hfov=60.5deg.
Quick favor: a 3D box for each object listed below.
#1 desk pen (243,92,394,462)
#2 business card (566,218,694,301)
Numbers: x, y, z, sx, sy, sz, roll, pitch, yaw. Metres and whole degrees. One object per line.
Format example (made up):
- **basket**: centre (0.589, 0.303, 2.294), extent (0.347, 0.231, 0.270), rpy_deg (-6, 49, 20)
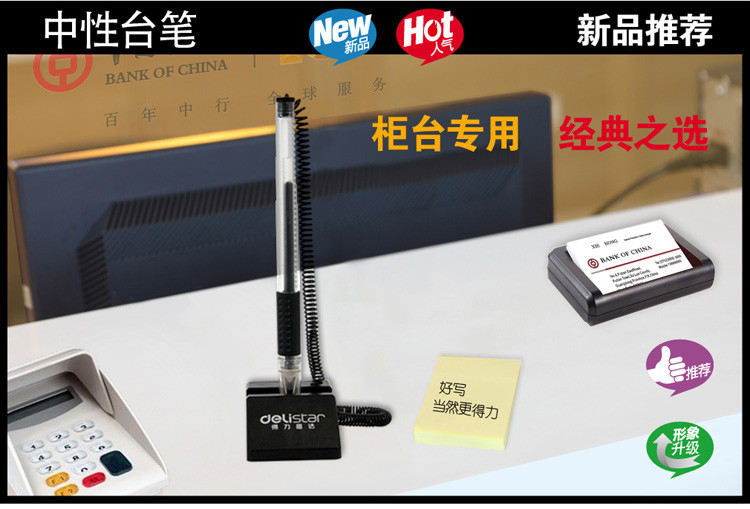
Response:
- **desk pen**: centre (-0.096, 0.119, 1.206), extent (0.228, 0.774, 0.222), rpy_deg (-5, 33, -7)
- **business card**: centre (0.581, 0.009, 1.477), extent (0.240, 0.164, 0.057), rpy_deg (-17, -36, -17)
